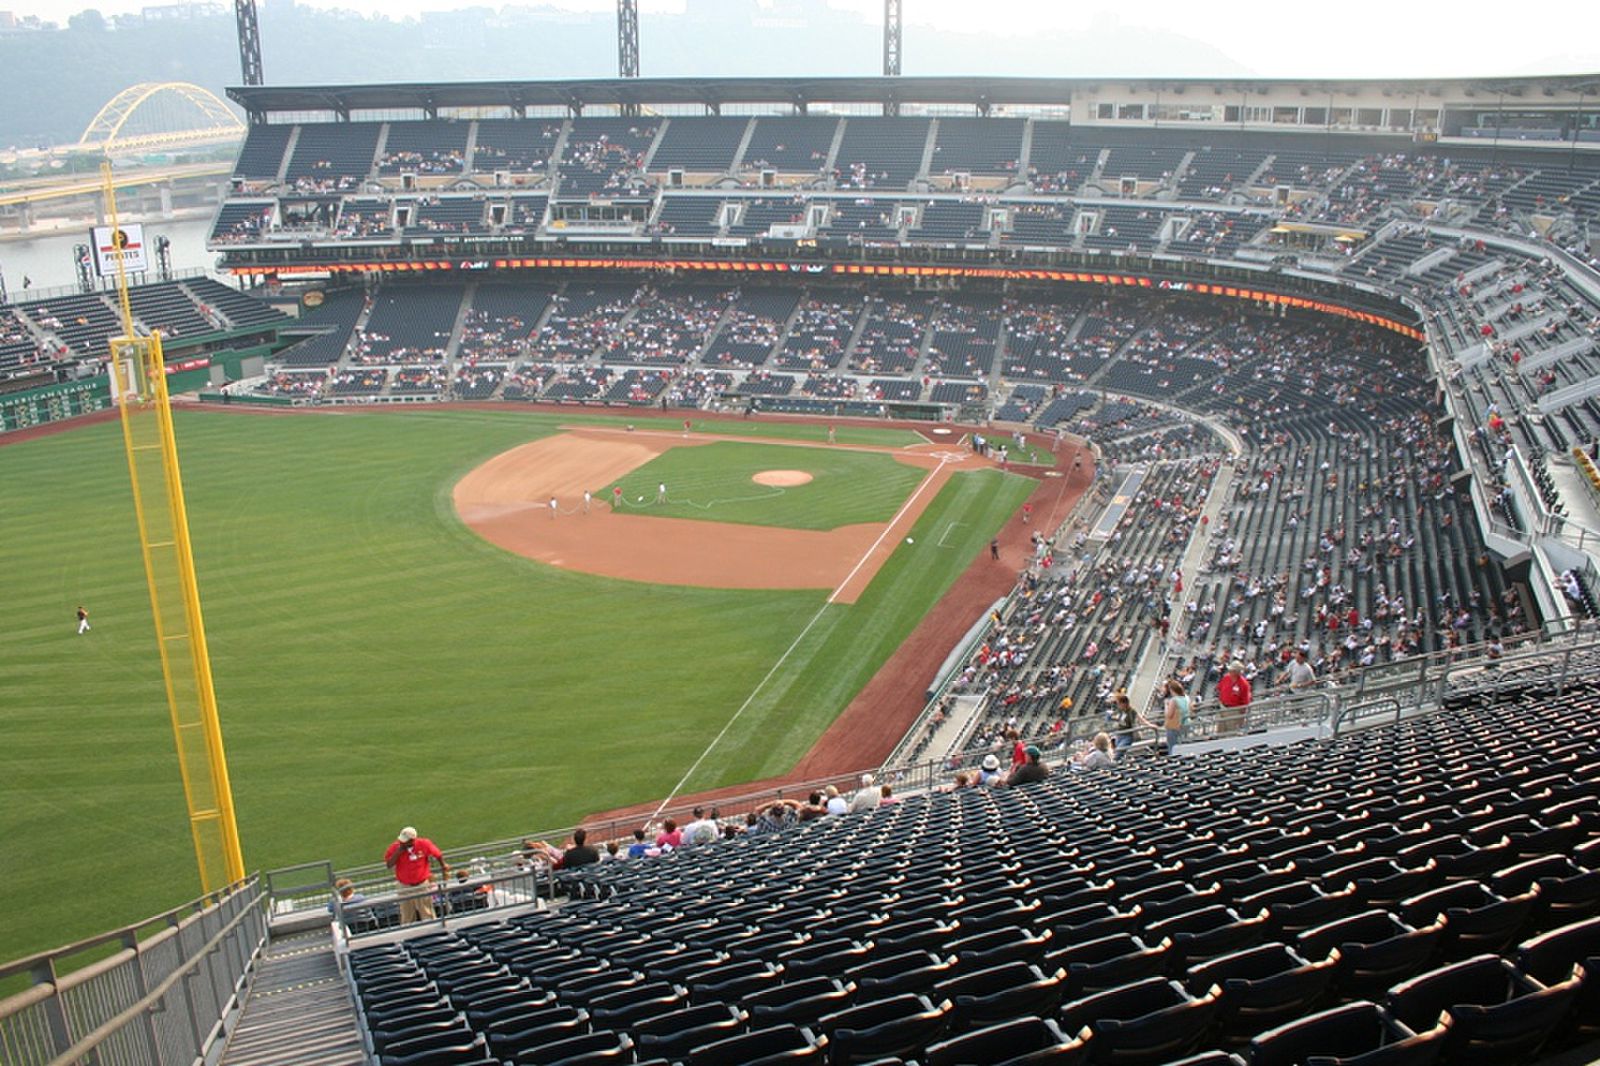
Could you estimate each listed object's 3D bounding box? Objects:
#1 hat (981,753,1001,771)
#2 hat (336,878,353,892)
[{"bbox_3d":[3.404,4.085,19.923,0.488,0.126,0.524,3,18,8],"label":"hat"},{"bbox_3d":[-7.101,5.526,17.313,0.255,0.047,0.249,2,11,38],"label":"hat"}]
